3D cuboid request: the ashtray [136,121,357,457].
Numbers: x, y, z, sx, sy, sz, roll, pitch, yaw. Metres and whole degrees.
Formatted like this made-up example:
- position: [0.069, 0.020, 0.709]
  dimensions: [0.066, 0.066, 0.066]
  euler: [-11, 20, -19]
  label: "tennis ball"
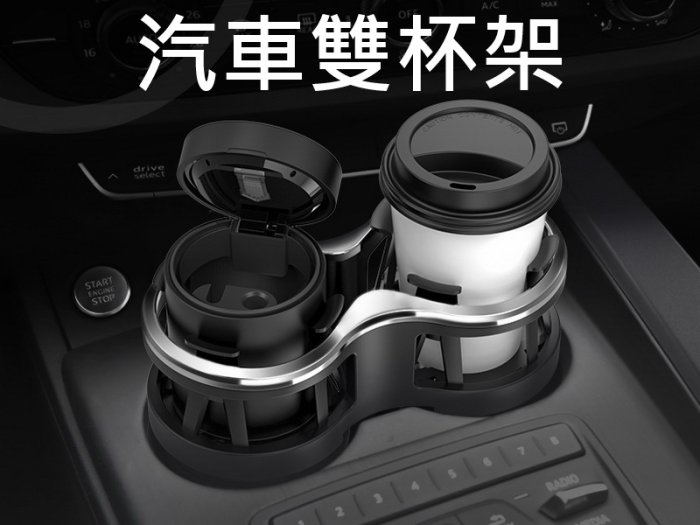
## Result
- position: [-0.107, 0.013, 0.613]
  dimensions: [0.183, 0.260, 0.260]
  euler: [3, 39, -5]
  label: "ashtray"
